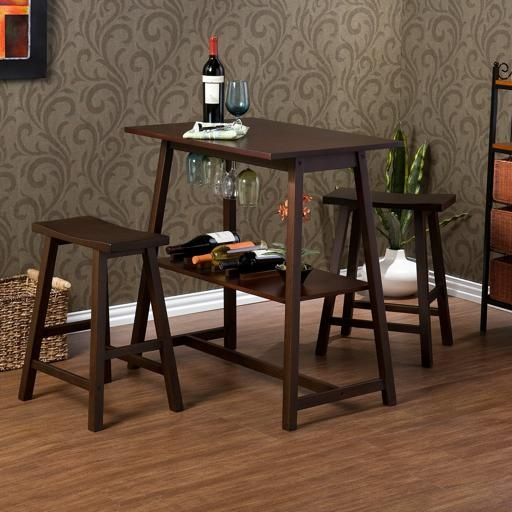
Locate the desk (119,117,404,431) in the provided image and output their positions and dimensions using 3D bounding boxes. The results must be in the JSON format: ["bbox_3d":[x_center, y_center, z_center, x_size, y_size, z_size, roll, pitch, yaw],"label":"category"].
[{"bbox_3d":[-0.033,0.104,2.281,0.741,1.256,1.360,-7,13,-30],"label":"desk"}]

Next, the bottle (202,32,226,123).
[{"bbox_3d":[-0.170,-0.696,2.039,0.079,0.337,0.164,0,7,-5],"label":"bottle"}]

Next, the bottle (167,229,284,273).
[{"bbox_3d":[-0.161,-0.021,2.212,0.161,0.159,0.663,13,12,40],"label":"bottle"}]
